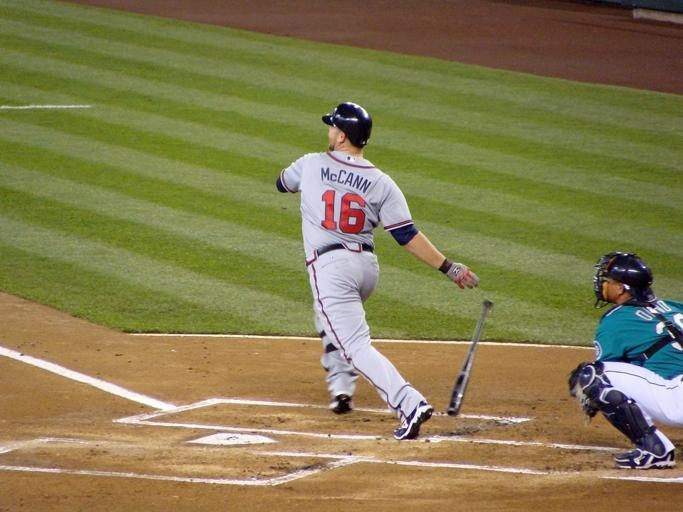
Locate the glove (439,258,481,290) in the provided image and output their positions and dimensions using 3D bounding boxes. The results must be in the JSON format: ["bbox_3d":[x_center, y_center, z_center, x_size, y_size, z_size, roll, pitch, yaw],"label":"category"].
[{"bbox_3d":[1.366,0.199,19.187,0.500,0.251,0.149,30,-14,-9],"label":"glove"}]

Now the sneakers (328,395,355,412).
[{"bbox_3d":[0.013,1.773,19.724,0.270,0.211,0.184,18,40,-25],"label":"sneakers"}]

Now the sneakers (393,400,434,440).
[{"bbox_3d":[0.839,1.901,19.121,0.177,0.474,0.244,53,-6,-34],"label":"sneakers"}]
